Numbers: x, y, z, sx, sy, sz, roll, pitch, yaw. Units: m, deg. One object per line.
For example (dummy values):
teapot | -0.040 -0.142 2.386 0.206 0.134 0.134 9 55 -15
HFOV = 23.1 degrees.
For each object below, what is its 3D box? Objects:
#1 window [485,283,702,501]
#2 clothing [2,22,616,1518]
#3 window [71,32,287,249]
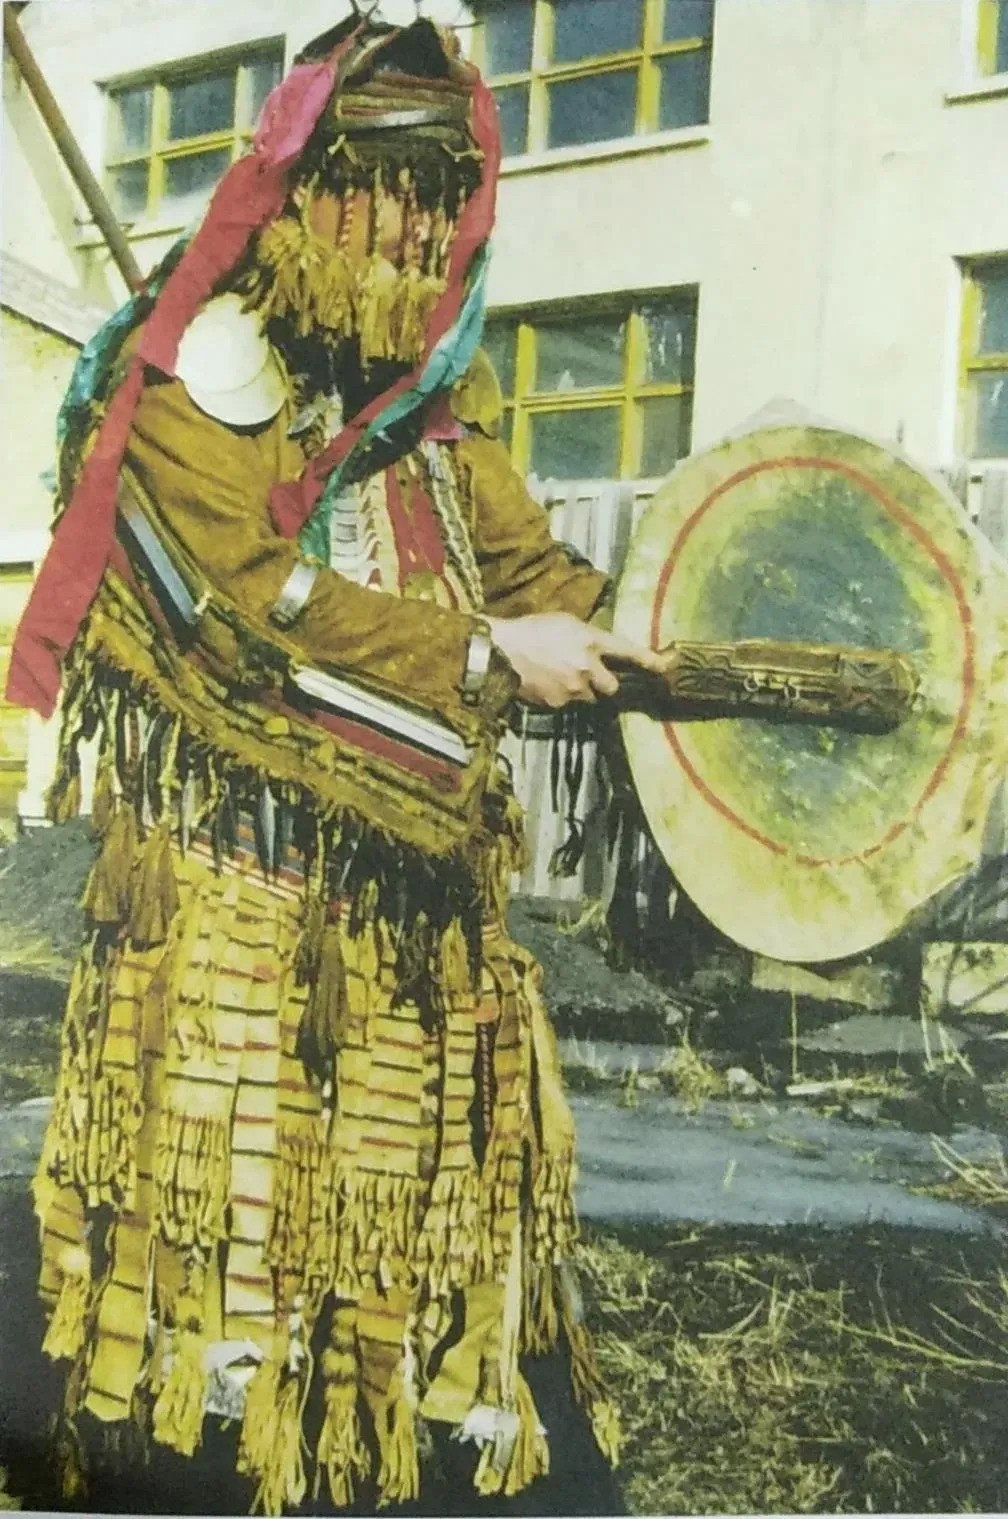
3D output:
window | 0.178 -0.693 4.633 0.336 0.382 0.050 2 10 15
clothing | -0.349 0.025 4.395 1.082 2.734 0.578 3 -5 2
window | -0.597 -1.172 4.666 0.393 0.394 0.042 -12 -16 10
